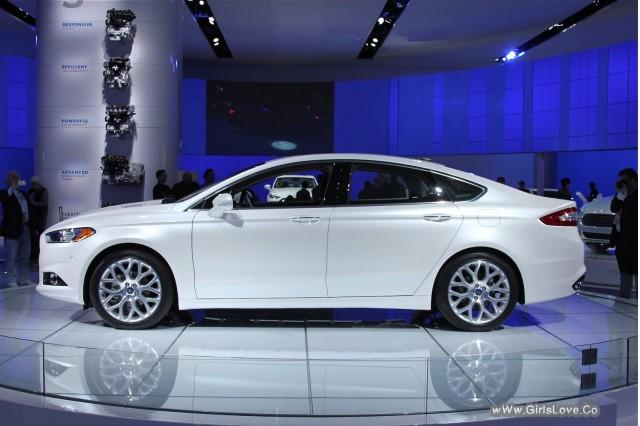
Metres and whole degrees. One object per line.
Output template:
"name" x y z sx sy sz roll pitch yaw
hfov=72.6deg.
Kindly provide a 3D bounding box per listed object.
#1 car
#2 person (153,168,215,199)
"car" -0.098 0.026 5.689 5.858 1.838 2.474 2 -4 0
"person" -2.893 -0.519 8.720 1.004 0.583 1.377 0 2 -4
